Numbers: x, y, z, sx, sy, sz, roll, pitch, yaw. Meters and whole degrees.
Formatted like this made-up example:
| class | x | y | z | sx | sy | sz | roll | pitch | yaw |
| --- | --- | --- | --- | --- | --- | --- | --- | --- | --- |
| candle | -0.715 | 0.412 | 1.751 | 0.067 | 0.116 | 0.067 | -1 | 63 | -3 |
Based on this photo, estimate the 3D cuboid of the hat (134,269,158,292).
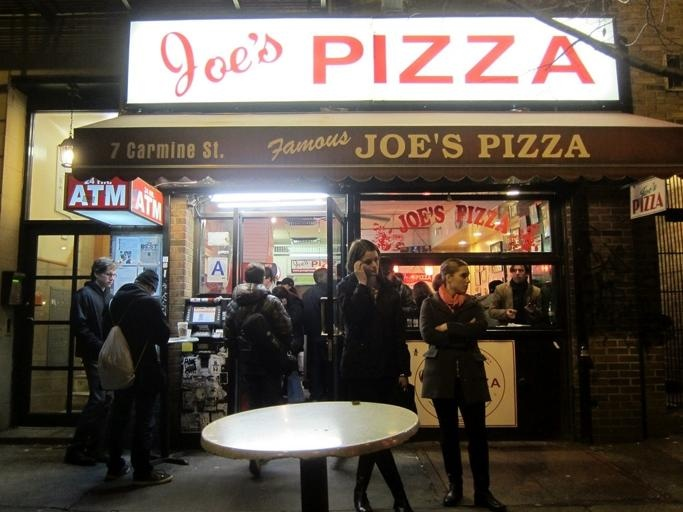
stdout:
| class | x | y | z | sx | sy | sz | roll | pitch | yaw |
| --- | --- | --- | --- | --- | --- | --- | --- | --- | --- |
| hat | -2.328 | 0.317 | 8.518 | 0.300 | 0.267 | 0.218 | 12 | -8 | 12 |

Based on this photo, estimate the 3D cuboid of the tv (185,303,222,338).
| class | x | y | z | sx | sy | sz | roll | pitch | yaw |
| --- | --- | --- | --- | --- | --- | --- | --- | --- | --- |
| tv | -1.880 | 0.832 | 9.482 | 0.474 | 0.423 | 0.367 | 4 | 18 | -15 |

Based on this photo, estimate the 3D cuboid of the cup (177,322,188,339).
| class | x | y | z | sx | sy | sz | roll | pitch | yaw |
| --- | --- | --- | --- | --- | --- | --- | --- | --- | --- |
| cup | -2.107 | 0.981 | 9.294 | 0.199 | 0.242 | 0.171 | 1 | -10 | -3 |

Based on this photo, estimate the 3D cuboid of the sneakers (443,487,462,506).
| class | x | y | z | sx | sy | sz | roll | pitch | yaw |
| --- | --- | --- | --- | --- | --- | --- | --- | --- | --- |
| sneakers | 1.234 | 2.599 | 7.579 | 0.283 | 0.199 | 0.117 | 3 | -7 | -31 |

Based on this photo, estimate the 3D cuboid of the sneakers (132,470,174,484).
| class | x | y | z | sx | sy | sz | roll | pitch | yaw |
| --- | --- | --- | --- | --- | --- | --- | --- | --- | --- |
| sneakers | -2.218 | 2.570 | 8.203 | 0.450 | 0.166 | 0.159 | -1 | -3 | -15 |

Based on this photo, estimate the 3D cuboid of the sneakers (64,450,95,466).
| class | x | y | z | sx | sy | sz | roll | pitch | yaw |
| --- | --- | --- | --- | --- | --- | --- | --- | --- | --- |
| sneakers | -3.285 | 2.543 | 8.811 | 0.487 | 0.198 | 0.154 | 0 | -7 | -1 |
